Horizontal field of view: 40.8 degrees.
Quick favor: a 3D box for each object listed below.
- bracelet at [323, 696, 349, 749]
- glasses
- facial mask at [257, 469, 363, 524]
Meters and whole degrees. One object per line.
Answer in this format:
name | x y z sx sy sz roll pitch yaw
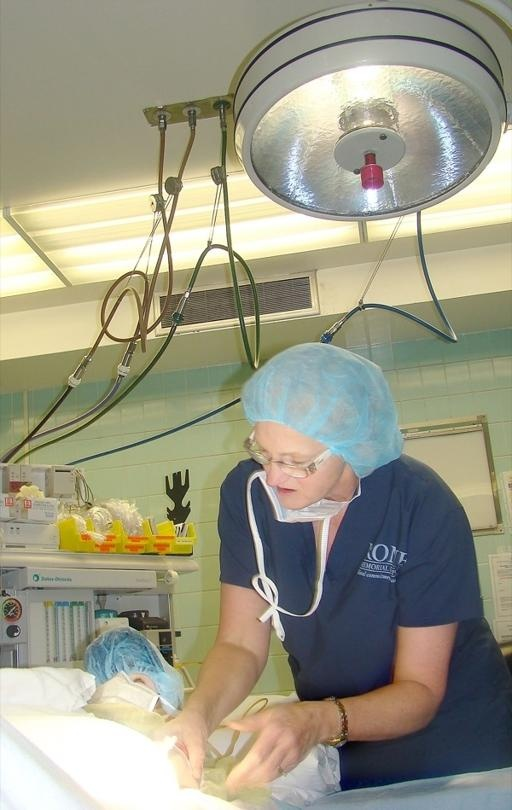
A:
bracelet | 0.133 0.511 1.089 0.020 0.063 0.063 -1 15 -15
glasses | 0.055 0.093 1.246 0.158 0.080 0.065 3 -7 3
facial mask | 0.115 0.180 1.269 0.177 0.050 0.170 10 -27 -29
